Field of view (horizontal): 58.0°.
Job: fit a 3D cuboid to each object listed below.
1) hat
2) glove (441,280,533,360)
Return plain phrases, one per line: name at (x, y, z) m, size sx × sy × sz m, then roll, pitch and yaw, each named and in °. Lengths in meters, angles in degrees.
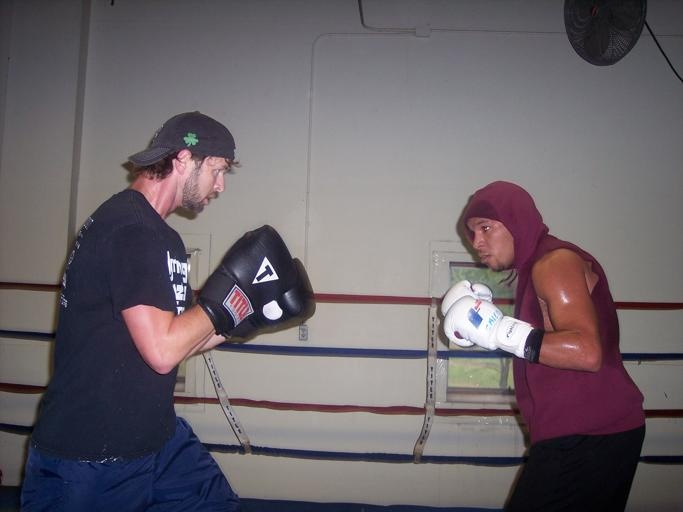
hat at (-0.687, -0.478, 2.681) m, size 0.380 × 0.204 × 0.244 m, roll 3°, pitch 6°, yaw -17°
glove at (0.648, 0.300, 2.872) m, size 0.396 × 0.273 × 0.172 m, roll 19°, pitch -18°, yaw 44°
